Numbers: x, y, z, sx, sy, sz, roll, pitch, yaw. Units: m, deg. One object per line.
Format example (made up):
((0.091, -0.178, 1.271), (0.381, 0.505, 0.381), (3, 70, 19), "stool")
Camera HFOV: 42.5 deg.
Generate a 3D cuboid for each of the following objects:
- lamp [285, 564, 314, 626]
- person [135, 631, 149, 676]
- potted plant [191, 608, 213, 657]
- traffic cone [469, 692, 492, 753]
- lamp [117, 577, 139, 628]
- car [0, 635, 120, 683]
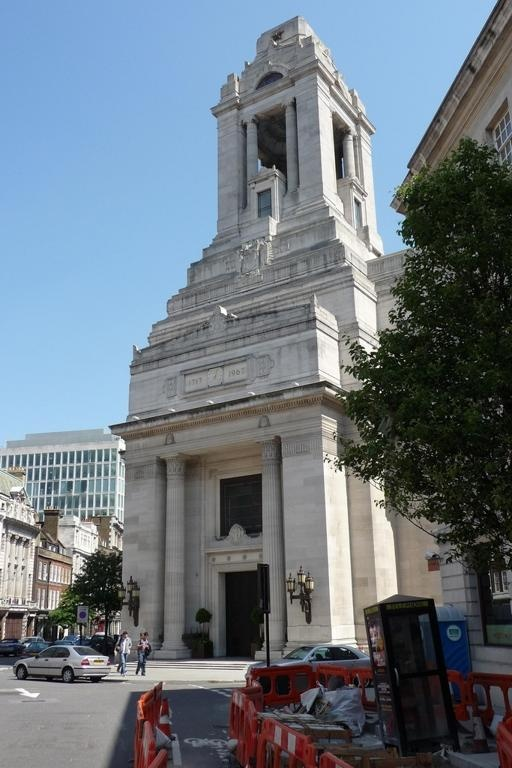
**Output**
((1.784, 8.746, 27.370), (0.996, 2.252, 1.177), (15, -25, -42), "lamp")
((-4.719, 11.179, 27.310), (0.494, 1.581, 2.387), (1, -19, -10), "person")
((-2.578, 11.890, 31.565), (0.906, 2.214, 1.144), (-4, -18, 4), "potted plant")
((3.104, 4.791, 9.254), (0.340, 0.760, 0.320), (-6, -12, 10), "traffic cone")
((-6.252, 10.763, 32.646), (1.033, 2.326, 0.938), (-5, -18, 6), "lamp")
((-7.291, 10.516, 24.870), (3.777, 1.215, 0.900), (-11, -20, 24), "car")
